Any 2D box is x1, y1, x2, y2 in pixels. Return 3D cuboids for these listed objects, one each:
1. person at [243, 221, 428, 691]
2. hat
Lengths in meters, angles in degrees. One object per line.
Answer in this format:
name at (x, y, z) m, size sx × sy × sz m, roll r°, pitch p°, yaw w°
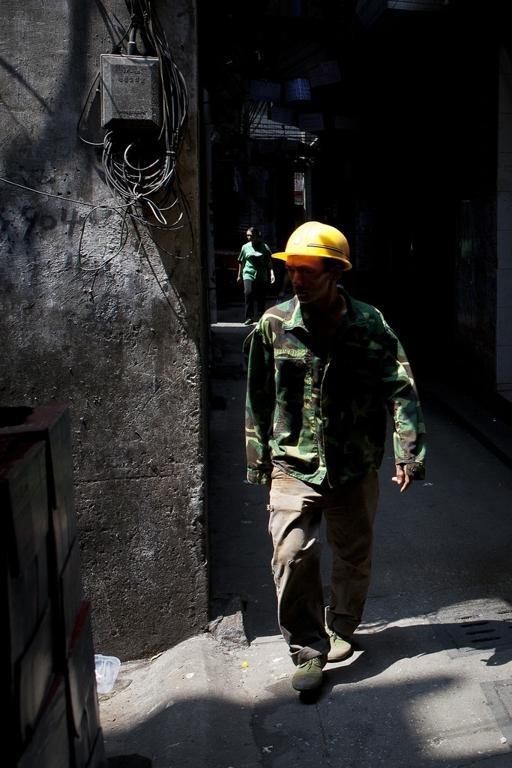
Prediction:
person at (0.325, 0.279, 3.049) m, size 0.666 × 1.843 × 0.412 m, roll -4°, pitch 8°, yaw -13°
hat at (0.228, -0.552, 2.979) m, size 0.278 × 0.203 × 0.328 m, roll -2°, pitch 7°, yaw 1°
